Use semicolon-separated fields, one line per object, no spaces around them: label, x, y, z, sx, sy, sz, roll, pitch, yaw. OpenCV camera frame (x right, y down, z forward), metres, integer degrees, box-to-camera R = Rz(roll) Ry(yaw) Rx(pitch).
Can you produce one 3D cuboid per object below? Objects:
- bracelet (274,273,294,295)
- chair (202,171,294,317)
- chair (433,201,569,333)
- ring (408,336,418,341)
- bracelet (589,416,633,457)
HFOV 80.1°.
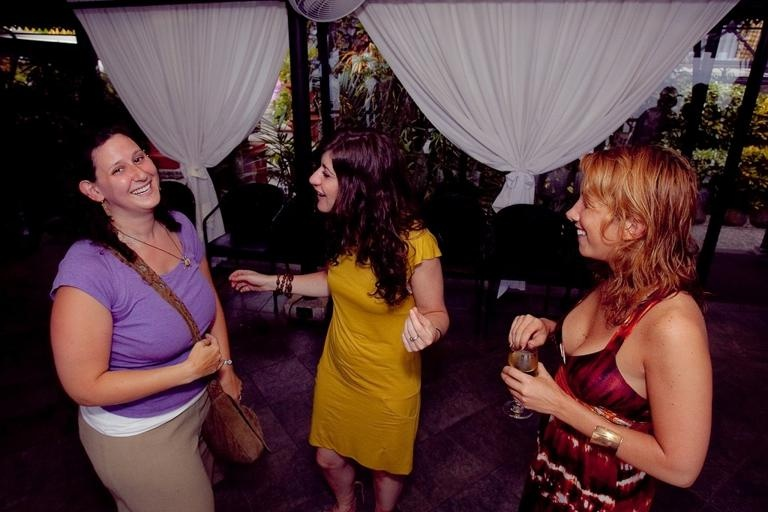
bracelet;-0.615;0.177;2.908;0.117;0.119;0.045;4;-1;8
chair;-1.372;-0.103;5.394;0.960;1.296;0.918;-9;-11;23
chair;1.194;0.013;5.154;1.376;1.972;1.358;3;46;9
ring;0.141;0.405;2.258;0.026;0.026;0.009;-1;-4;6
bracelet;0.974;0.794;1.978;0.140;0.128;0.113;30;35;8
